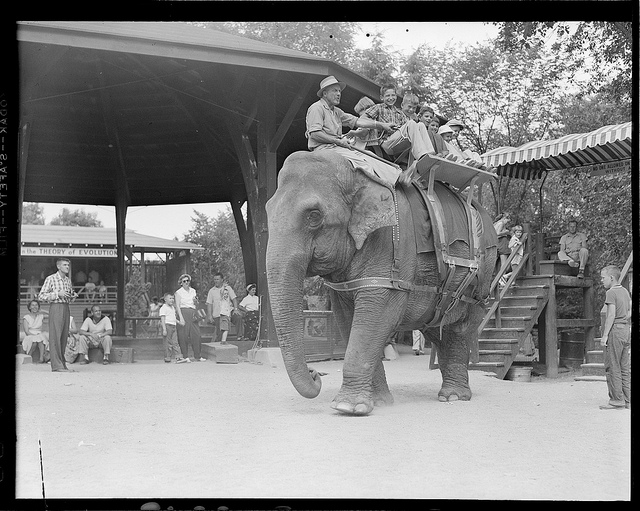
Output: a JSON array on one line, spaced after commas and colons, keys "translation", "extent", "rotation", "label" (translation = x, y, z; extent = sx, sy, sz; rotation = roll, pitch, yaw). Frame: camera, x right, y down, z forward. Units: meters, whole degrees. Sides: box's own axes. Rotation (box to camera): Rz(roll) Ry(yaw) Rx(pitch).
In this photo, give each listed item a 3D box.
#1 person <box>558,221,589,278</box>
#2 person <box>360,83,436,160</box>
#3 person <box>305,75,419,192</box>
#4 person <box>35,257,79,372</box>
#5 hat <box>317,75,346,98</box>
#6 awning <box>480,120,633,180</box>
[{"translation": [5.259, -0.124, 14.429], "extent": [0.656, 1.203, 0.822], "rotation": [-3, -4, 8], "label": "person"}, {"translation": [1.060, -1.617, 8.643], "extent": [0.942, 1.125, 0.603], "rotation": [-4, -2, 44], "label": "person"}, {"translation": [0.508, -1.473, 8.371], "extent": [1.444, 1.280, 0.735], "rotation": [11, 11, 12], "label": "person"}, {"translation": [-4.643, 1.064, 12.260], "extent": [0.594, 1.958, 0.460], "rotation": [1, -3, -22], "label": "person"}, {"translation": [0.102, -2.050, 8.487], "extent": [0.262, 0.264, 0.220], "rotation": [0, -3, 0], "label": "hat"}, {"translation": [5.224, -2.213, 14.908], "extent": [1.869, 0.693, 3.552], "rotation": [2, -5, -34], "label": "awning"}]
